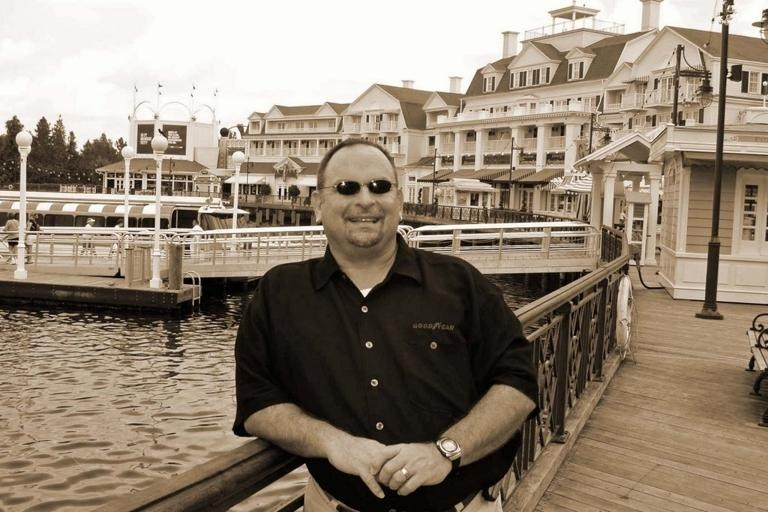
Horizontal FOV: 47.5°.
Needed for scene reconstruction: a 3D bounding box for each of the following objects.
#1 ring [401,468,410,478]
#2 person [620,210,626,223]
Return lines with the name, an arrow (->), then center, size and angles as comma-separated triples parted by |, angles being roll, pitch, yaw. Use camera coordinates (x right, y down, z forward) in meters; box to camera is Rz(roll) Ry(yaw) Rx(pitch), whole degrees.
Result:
ring -> 0.226, 2.380, 9.597 | 0.083, 0.104, 0.029 | -9, 10, 2
person -> 12.052, -1.890, 44.257 | 0.198, 0.375, 2.699 | -6, 10, 19
